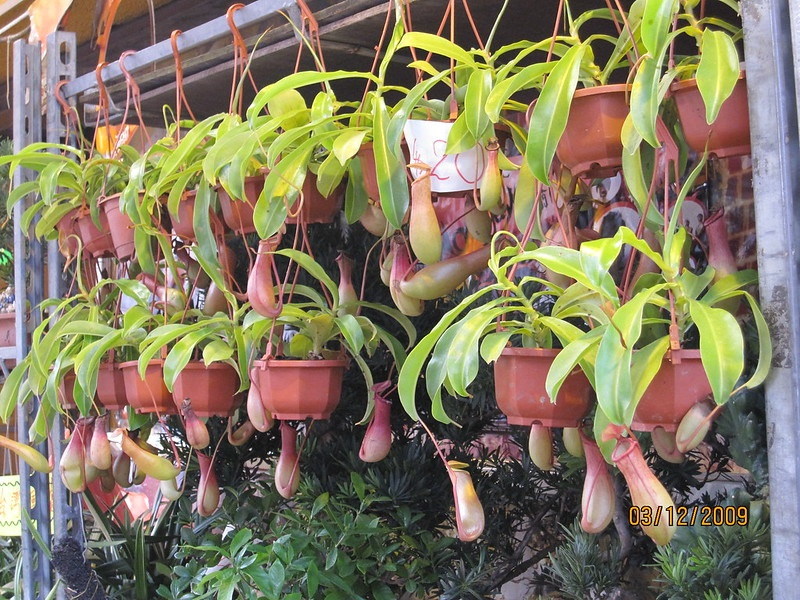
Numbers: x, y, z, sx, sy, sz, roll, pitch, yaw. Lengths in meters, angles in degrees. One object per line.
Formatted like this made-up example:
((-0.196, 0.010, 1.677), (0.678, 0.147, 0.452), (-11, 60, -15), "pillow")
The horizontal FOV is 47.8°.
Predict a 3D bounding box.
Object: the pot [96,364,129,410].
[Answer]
((-0.602, 0.178, 1.891), (0.073, 0.094, 0.078), (6, -10, 1), "pot")

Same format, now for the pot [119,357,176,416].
((-0.495, 0.164, 1.766), (0.096, 0.090, 0.106), (-1, -3, 0), "pot")

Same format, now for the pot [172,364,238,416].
((-0.372, 0.157, 1.724), (0.101, 0.087, 0.102), (-1, 2, 0), "pot")

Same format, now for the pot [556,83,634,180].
((0.305, -0.258, 1.421), (0.107, 0.095, 0.116), (5, -17, 2), "pot")

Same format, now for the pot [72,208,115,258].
((-0.649, -0.141, 1.922), (0.085, 0.084, 0.094), (-7, -2, -5), "pot")

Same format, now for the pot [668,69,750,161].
((0.479, -0.274, 1.407), (0.120, 0.110, 0.112), (1, -7, 0), "pot")

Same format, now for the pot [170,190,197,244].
((-0.409, -0.157, 1.743), (0.070, 0.091, 0.077), (3, -7, -11), "pot")

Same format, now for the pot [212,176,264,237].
((-0.297, -0.171, 1.668), (0.087, 0.085, 0.097), (1, 2, 8), "pot")

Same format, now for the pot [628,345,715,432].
((0.402, 0.125, 1.337), (0.101, 0.110, 0.108), (-1, 0, 0), "pot")

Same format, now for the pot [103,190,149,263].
((-0.559, -0.143, 1.850), (0.089, 0.128, 0.111), (-16, -5, -9), "pot")

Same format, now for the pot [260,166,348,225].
((-0.158, -0.178, 1.653), (0.101, 0.101, 0.101), (1, 2, 0), "pot")

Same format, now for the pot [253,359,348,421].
((-0.191, 0.161, 1.706), (0.172, 0.125, 0.186), (1, 2, 0), "pot")
